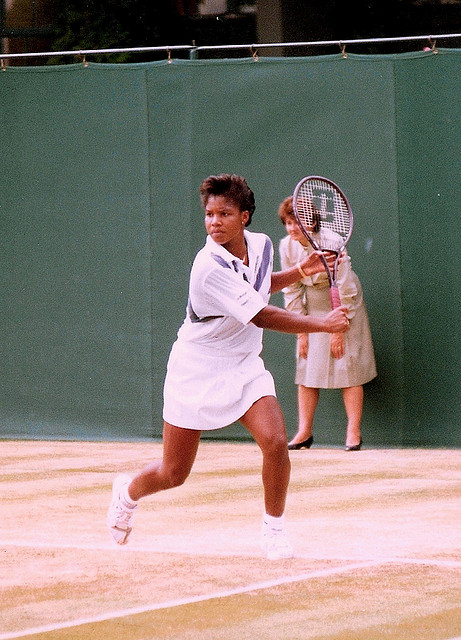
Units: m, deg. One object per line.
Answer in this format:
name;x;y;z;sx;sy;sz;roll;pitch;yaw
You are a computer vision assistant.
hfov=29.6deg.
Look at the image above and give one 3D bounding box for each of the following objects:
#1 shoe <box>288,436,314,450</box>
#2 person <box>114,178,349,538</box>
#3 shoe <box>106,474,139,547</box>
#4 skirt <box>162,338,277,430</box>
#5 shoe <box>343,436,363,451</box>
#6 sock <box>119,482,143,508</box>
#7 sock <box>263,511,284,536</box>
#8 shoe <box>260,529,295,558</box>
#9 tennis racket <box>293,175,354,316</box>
shoe;0.435;0.715;5.234;0.203;0.075;0.069;7;-10;-35
person;-0.007;0.145;2.978;0.750;1.239;0.375;3;4;37
shoe;-0.400;0.655;3.120;0.097;0.269;0.119;10;0;-18
skirt;-0.051;0.208;3.017;0.508;0.345;0.272;1;-2;-11
shoe;0.720;0.709;5.189;0.107;0.083;0.204;1;3;8
sock;-0.359;0.615;3.104;0.040;0.044;0.107;19;5;-4
sock;0.141;0.679;2.943;0.058;0.076;0.078;0;-14;-3
shoe;0.171;0.748;2.993;0.134;0.099;0.112;0;3;-13
tennis racket;0.443;-0.265;3.780;0.281;0.986;0.075;10;-44;-12
